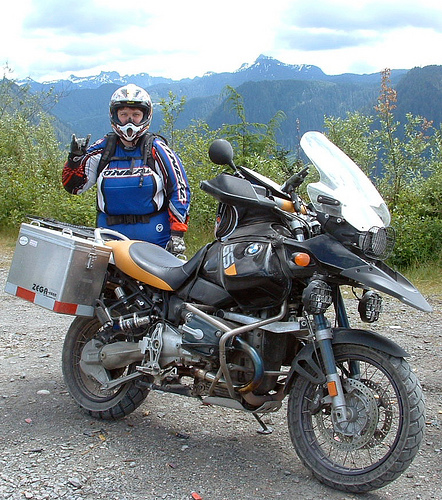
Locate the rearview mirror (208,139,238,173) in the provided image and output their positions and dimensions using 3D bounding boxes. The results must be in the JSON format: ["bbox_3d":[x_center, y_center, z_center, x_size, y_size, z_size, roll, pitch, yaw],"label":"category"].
[{"bbox_3d":[-0.017,-0.575,2.741,0.164,0.128,0.330,-3,5,-7],"label":"rearview mirror"}]
